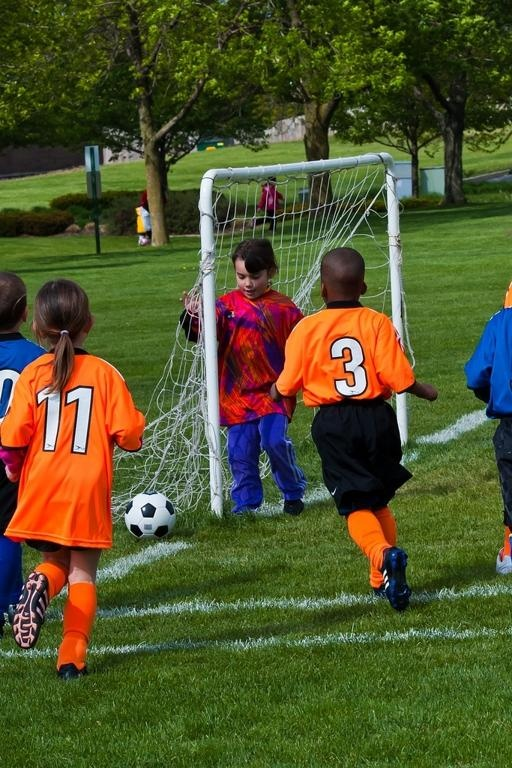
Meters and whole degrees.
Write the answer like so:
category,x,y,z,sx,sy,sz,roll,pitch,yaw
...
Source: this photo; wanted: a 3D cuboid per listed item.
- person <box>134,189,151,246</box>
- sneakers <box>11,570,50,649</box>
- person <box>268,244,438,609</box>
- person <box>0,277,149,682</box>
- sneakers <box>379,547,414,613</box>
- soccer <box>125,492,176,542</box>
category,x,y,z,sx,sy,sz,roll,pitch,yaw
person,-2.621,-3.909,24.545,0.312,1.023,1.350,-5,2,-7
sneakers,-0.618,0.626,2.932,0.088,0.215,0.097,7,-9,0
person,0.397,0.132,3.588,0.414,0.843,0.659,-6,2,-30
person,-0.531,0.258,3.095,0.426,0.966,0.469,-5,2,-7
sneakers,0.440,0.627,3.337,0.090,0.236,0.119,-9,21,-3
soccer,-0.496,0.621,4.959,0.232,0.206,0.218,3,-4,-27
